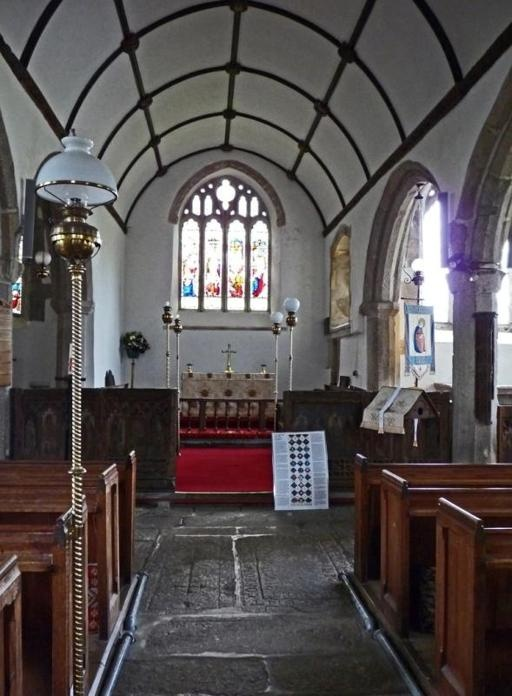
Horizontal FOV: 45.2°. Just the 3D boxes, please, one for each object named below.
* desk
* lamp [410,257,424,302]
[{"bbox_3d":[-0.395,0.672,7.991,1.239,0.694,1.748,0,0,0],"label":"desk"},{"bbox_3d":[2.011,-0.826,7.602,0.147,0.563,0.150,-2,4,44],"label":"lamp"}]
